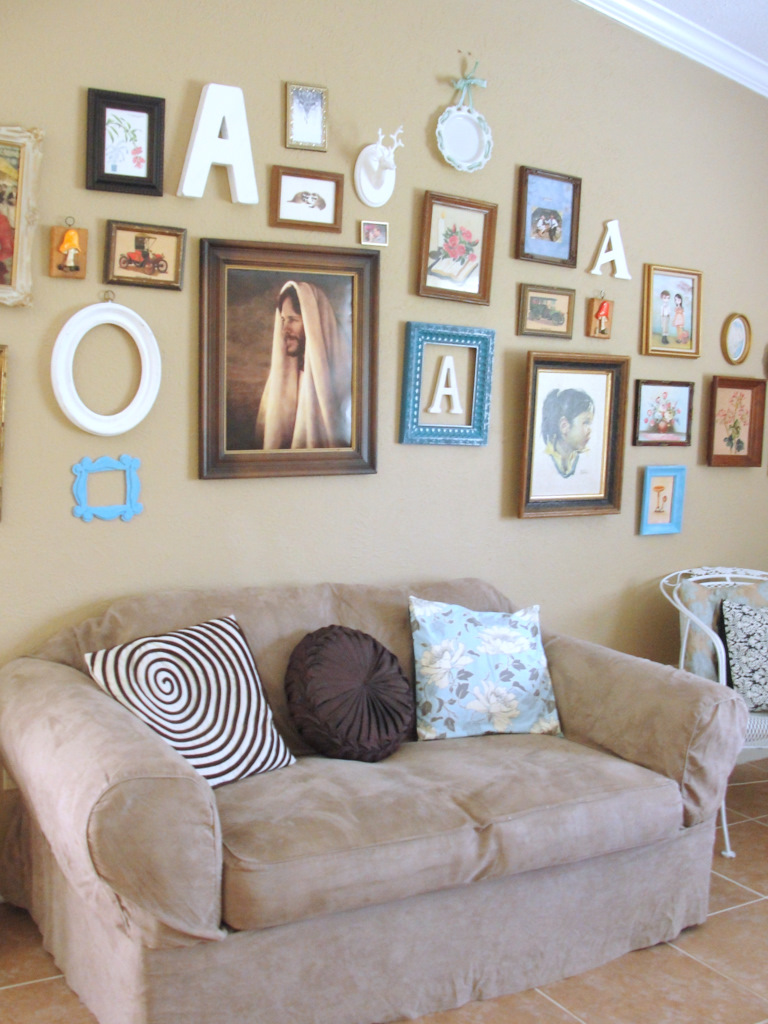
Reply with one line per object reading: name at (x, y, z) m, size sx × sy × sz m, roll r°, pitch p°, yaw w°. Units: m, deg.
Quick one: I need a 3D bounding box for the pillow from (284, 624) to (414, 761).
pillow at (-0.108, 0.482, 2.265) m, size 0.316 × 0.314 × 0.092 m, roll -19°, pitch -7°, yaw -46°
